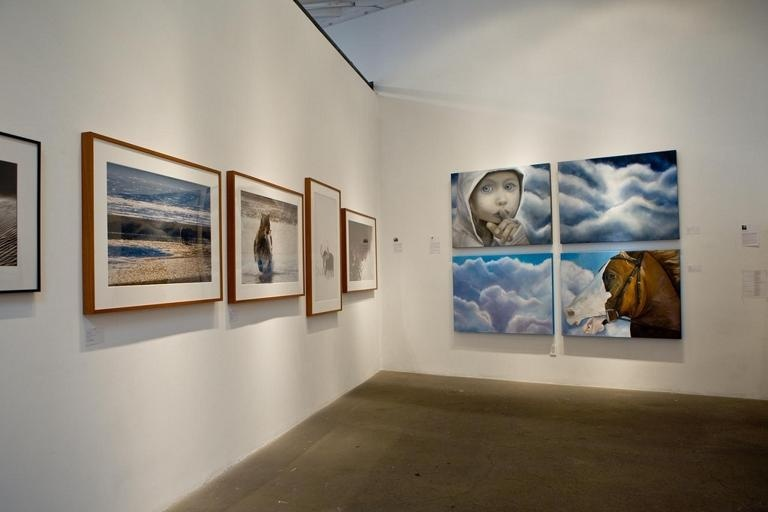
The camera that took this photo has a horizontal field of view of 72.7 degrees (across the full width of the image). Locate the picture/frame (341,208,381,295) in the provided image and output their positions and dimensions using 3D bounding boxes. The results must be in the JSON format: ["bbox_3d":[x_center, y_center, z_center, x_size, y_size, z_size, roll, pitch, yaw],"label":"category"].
[{"bbox_3d":[-0.430,-0.068,8.988,0.149,1.472,1.505,-2,-2,20],"label":"picture/frame"}]
